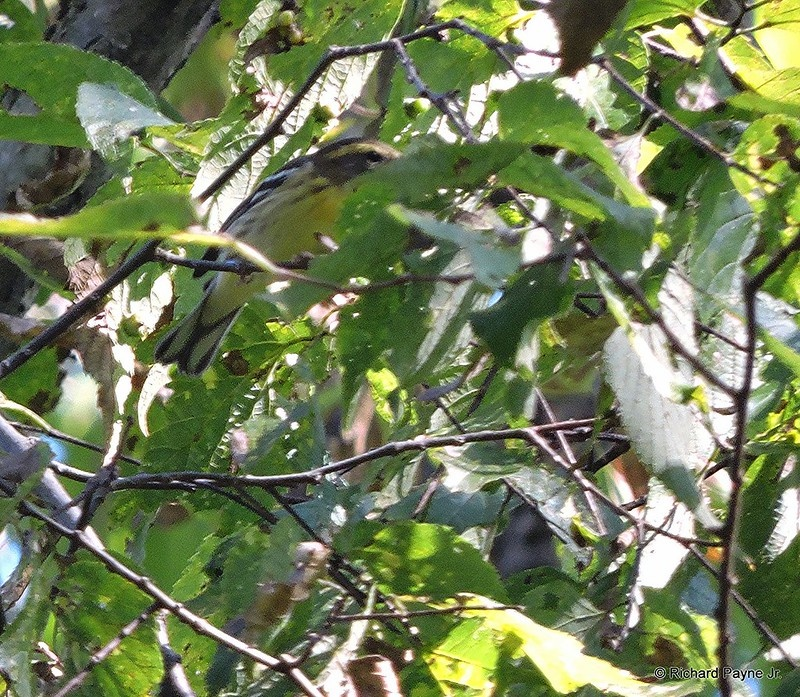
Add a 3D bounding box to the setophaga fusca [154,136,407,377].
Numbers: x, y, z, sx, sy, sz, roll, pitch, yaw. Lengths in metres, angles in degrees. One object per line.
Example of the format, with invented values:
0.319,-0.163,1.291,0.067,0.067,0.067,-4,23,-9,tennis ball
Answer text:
-0.098,-0.078,0.969,0.253,0.103,0.083,-33,-49,18,setophaga fusca
